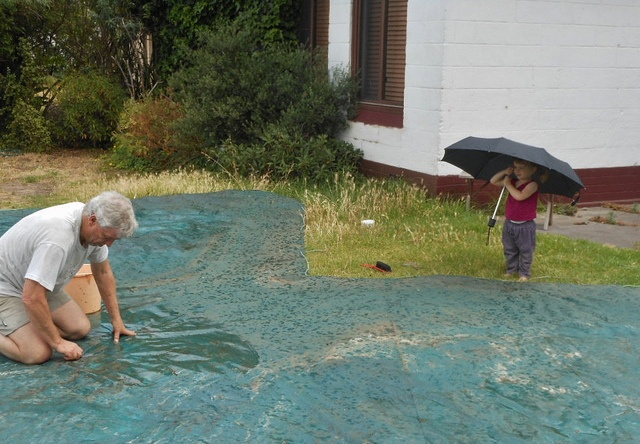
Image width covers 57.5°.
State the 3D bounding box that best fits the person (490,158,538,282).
[{"bbox_3d":[2.473,-0.035,7.216,0.390,1.424,0.562,1,15,-3],"label":"person"}]
